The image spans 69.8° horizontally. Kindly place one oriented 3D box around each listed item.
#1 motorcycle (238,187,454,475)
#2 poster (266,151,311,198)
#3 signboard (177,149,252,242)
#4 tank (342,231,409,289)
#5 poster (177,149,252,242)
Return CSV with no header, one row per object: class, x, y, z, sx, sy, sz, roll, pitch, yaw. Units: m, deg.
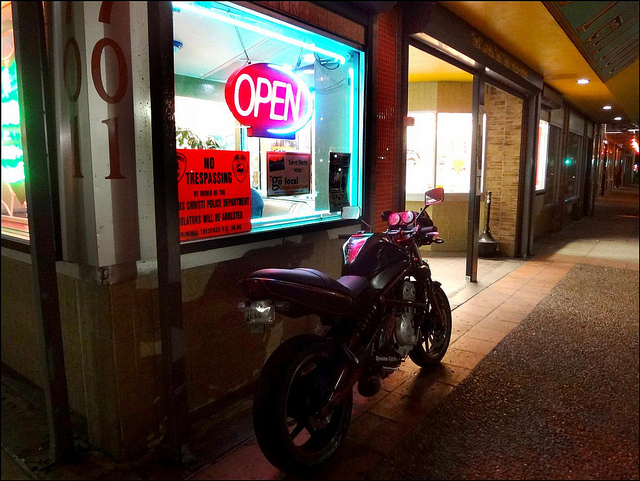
motorcycle,0.534,0.550,3.866,1.074,1.896,2.866,1,13,39
poster,-0.311,-0.635,4.427,0.021,0.414,0.597,6,10,42
signboard,-0.877,-0.384,3.734,0.265,0.689,0.637,16,12,40
tank,0.445,0.150,3.726,0.305,0.357,0.641,1,7,43
poster,-0.860,-0.384,3.742,0.266,0.692,0.639,16,12,40
